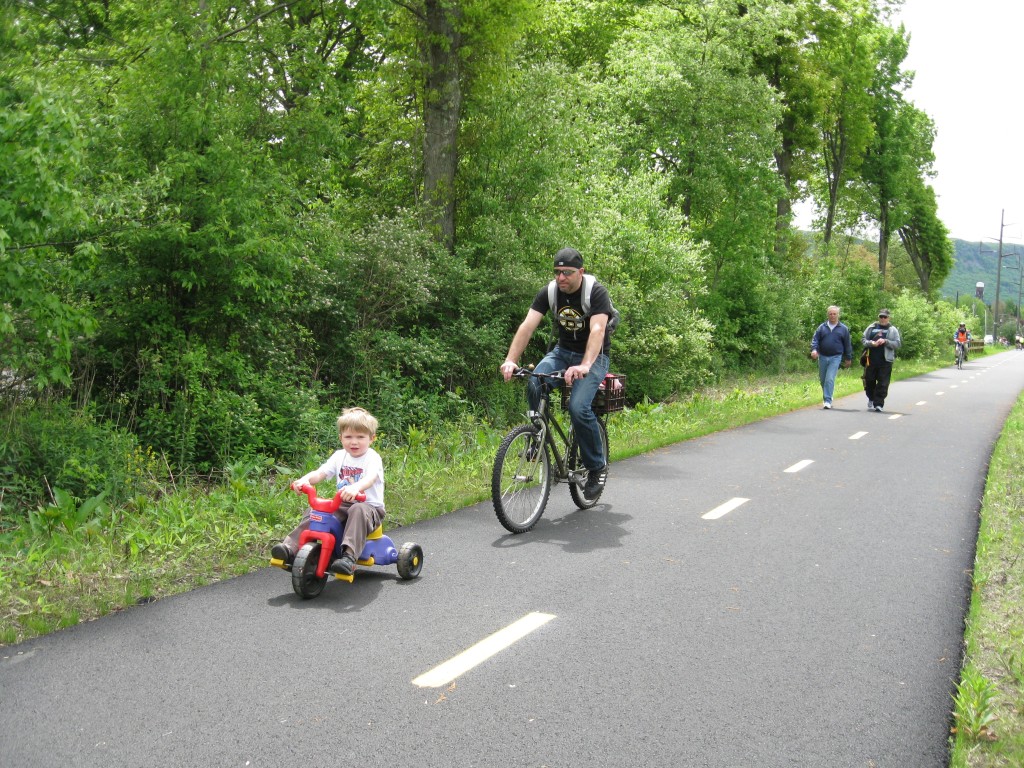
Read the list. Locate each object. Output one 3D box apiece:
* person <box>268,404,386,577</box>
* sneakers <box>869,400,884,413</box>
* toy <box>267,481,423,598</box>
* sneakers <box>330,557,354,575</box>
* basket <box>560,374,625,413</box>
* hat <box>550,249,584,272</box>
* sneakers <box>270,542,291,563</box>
[{"bbox_3d":[-1.285,0.795,7.113,0.694,1.202,0.868,4,1,35],"label":"person"},{"bbox_3d":[7.856,0.478,20.341,0.151,0.258,0.542,-1,15,8],"label":"sneakers"},{"bbox_3d":[-1.240,1.175,7.150,0.627,0.696,1.027,-1,-5,30],"label":"toy"},{"bbox_3d":[-1.274,1.354,7.074,0.165,0.155,0.090,3,9,11],"label":"sneakers"},{"bbox_3d":[0.967,0.121,10.100,0.401,0.442,0.603,1,-1,2],"label":"basket"},{"bbox_3d":[0.529,-1.159,8.893,0.210,0.170,0.244,7,15,22],"label":"hat"},{"bbox_3d":[-1.727,1.253,7.021,0.150,0.180,0.086,5,-6,15],"label":"sneakers"}]
